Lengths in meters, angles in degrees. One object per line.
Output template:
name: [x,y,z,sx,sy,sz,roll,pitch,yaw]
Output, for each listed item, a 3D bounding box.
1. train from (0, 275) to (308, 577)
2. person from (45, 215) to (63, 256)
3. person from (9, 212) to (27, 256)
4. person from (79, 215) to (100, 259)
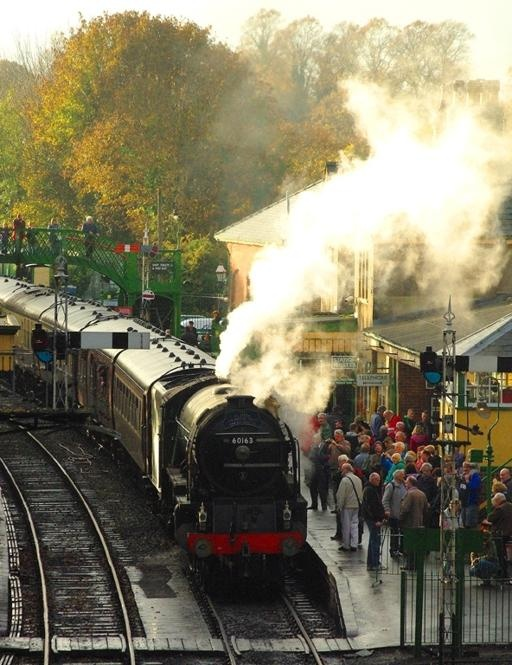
train: [-2.325,0.823,23.319,2.091,3.004,18.624,0,7,-10]
person: [-6.347,-2.937,38.040,0.461,1.180,1.123,-5,6,-9]
person: [-7.441,-2.952,37.909,0.440,1.171,2.099,-5,6,-11]
person: [-5.298,-2.910,38.518,0.520,1.638,0.500,1,-13,-16]
